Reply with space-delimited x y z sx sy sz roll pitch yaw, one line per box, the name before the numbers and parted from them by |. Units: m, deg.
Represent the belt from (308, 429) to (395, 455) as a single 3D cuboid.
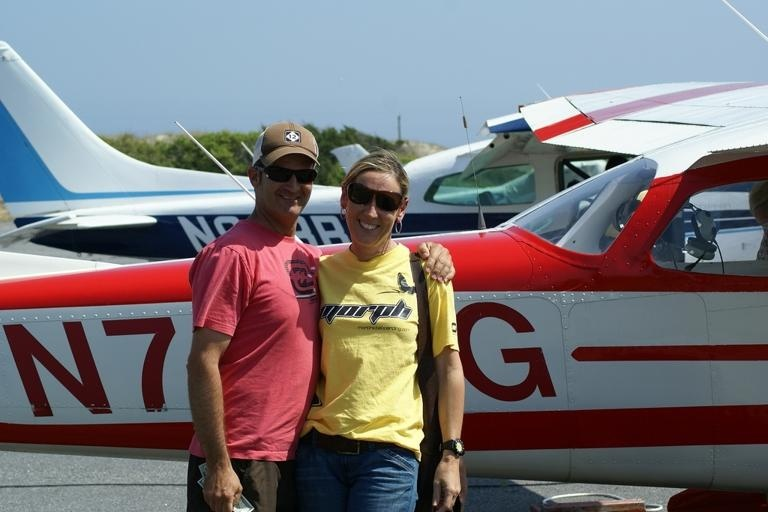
belt | -0.174 1.052 5.457 0.460 0.112 0.052 -1 14 8
